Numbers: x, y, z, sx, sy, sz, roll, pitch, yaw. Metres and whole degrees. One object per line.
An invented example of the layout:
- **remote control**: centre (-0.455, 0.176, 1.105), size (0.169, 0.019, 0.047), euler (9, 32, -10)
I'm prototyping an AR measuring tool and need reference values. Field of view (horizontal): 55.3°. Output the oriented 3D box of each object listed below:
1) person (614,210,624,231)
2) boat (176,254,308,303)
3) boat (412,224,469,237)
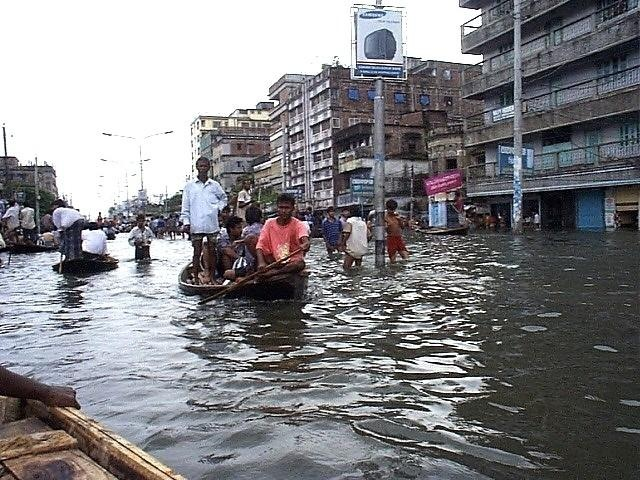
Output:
- **person**: centre (14.117, -1.022, 28.763), size (0.324, 0.804, 0.210), euler (0, 7, 22)
- **boat**: centre (-1.553, 0.694, 10.195), size (2.985, 0.547, 1.351), euler (3, 7, 44)
- **boat**: centre (6.051, -0.487, 30.489), size (0.878, 0.444, 3.357), euler (-1, 1, -29)
